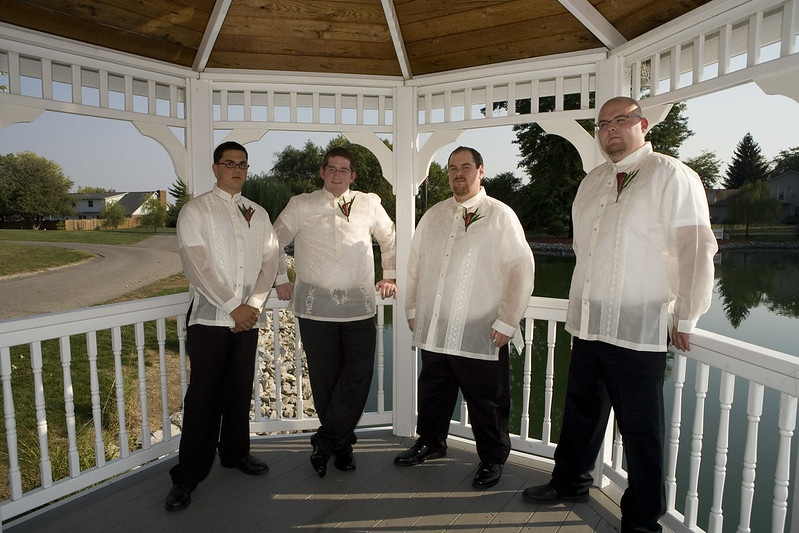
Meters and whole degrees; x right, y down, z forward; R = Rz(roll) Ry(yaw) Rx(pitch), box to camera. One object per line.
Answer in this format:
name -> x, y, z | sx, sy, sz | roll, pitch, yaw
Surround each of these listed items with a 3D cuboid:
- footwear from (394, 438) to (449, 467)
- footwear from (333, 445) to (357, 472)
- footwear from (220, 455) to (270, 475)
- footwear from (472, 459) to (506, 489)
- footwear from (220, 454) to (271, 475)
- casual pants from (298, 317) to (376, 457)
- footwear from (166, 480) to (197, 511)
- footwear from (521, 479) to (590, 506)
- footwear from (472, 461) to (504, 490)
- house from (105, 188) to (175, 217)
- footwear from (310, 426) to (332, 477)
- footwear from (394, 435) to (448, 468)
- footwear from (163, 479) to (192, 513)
footwear -> 0.185, 1.519, 4.623 | 0.428, 0.210, 0.176 | 2, -7, -20
footwear -> -0.429, 1.543, 4.471 | 0.096, 0.118, 0.256 | 2, -8, -26
footwear -> -1.195, 1.549, 4.371 | 0.332, 0.155, 0.158 | 2, -1, 8
footwear -> 0.665, 1.597, 4.270 | 0.113, 0.127, 0.284 | -5, -12, 32
footwear -> -1.202, 1.526, 4.430 | 0.347, 0.171, 0.158 | 2, -2, 8
casual pants -> -0.474, 0.932, 4.451 | 0.553, 1.044, 0.217 | -2, 6, -12
footwear -> -1.576, 1.661, 4.033 | 0.097, 0.110, 0.233 | 5, -6, -5
footwear -> 1.149, 1.626, 4.186 | 0.472, 0.235, 0.181 | 4, -1, 2
footwear -> 0.672, 1.608, 4.275 | 0.111, 0.124, 0.279 | -5, -13, 33
house -> -11.874, -2.974, 25.657 | 1.606, 0.959, 1.709 | 4, 8, 19
footwear -> -0.617, 1.453, 4.423 | 0.146, 0.374, 0.130 | -1, 4, 42
footwear -> 0.174, 1.495, 4.559 | 0.432, 0.212, 0.178 | 2, -6, -20
footwear -> -1.579, 1.675, 4.028 | 0.103, 0.115, 0.244 | 4, -7, -10
